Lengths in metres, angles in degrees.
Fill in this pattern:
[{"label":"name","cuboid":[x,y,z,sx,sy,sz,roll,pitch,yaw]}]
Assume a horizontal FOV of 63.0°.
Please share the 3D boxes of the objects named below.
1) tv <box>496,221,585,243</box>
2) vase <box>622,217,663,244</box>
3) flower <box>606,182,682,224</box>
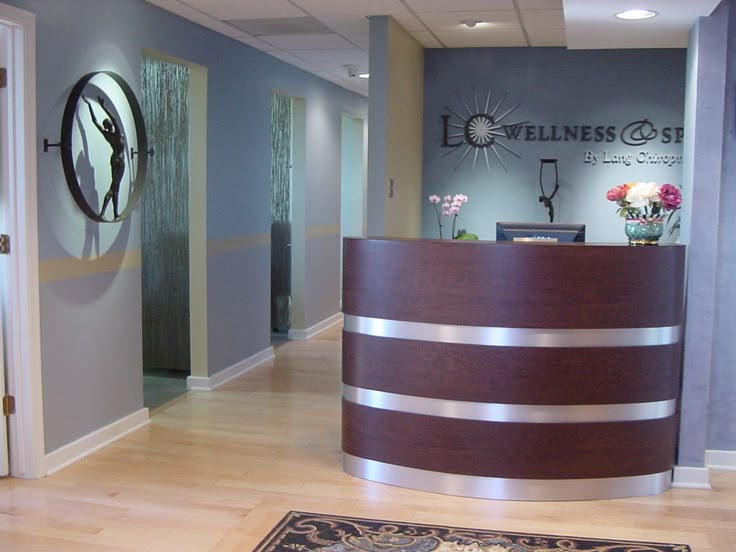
[{"label":"tv","cuboid":[1.239,-0.315,4.261,0.422,0.209,0.293,1,-2,10]},{"label":"vase","cuboid":[1.728,-0.278,3.746,0.201,0.151,0.226,3,8,21]},{"label":"flower","cuboid":[1.830,-0.483,3.897,0.427,0.250,0.364,-6,10,-39]}]
